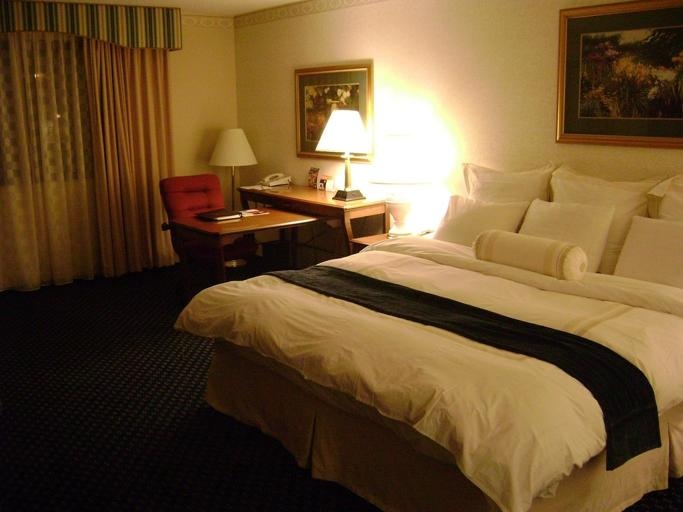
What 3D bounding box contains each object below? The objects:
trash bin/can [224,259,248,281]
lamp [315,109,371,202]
[{"bbox_3d":[-1.198,0.117,5.721,0.249,0.148,0.253,14,22,37],"label":"trash bin/can"},{"bbox_3d":[0.079,-0.972,4.893,0.496,0.806,0.551,16,22,33],"label":"lamp"}]
